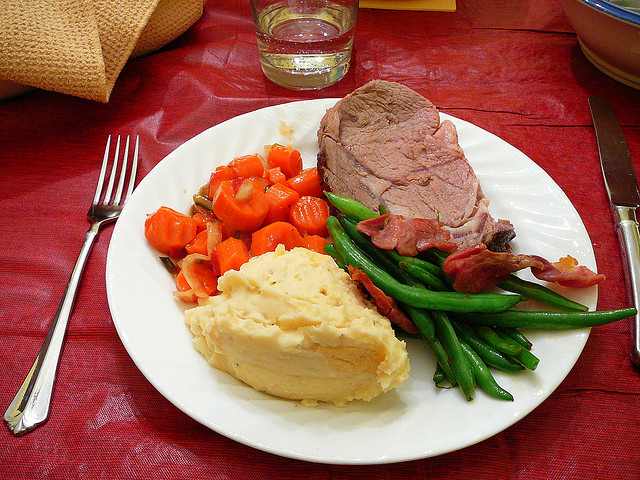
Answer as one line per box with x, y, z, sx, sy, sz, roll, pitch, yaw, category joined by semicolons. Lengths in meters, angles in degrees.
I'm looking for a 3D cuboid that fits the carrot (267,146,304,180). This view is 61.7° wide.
-0.148;-0.397;2.764;0.128;0.162;0.143;-25;107;-23;carrot

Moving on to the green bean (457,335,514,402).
0.614;0.506;2.067;0.068;0.044;0.325;-2;43;-31;green bean

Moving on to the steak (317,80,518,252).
0.442;-0.413;2.736;0.657;0.193;1.086;-29;59;-16;steak

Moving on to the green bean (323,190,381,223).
0.143;-0.143;2.474;0.318;0.085;0.094;31;26;16;green bean

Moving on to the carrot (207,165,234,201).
-0.483;-0.289;2.557;0.103;0.096;0.164;22;68;24;carrot

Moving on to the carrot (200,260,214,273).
-0.501;0.118;2.376;0.049;0.046;0.014;39;101;-13;carrot

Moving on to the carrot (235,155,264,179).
-0.344;-0.350;2.625;0.124;0.108;0.099;-16;55;-17;carrot

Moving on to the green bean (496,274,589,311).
0.911;0.222;2.244;0.076;0.541;0.079;-20;102;-12;green bean

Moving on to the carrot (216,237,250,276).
-0.389;0.063;2.343;0.146;0.144;0.144;-5;44;-20;carrot

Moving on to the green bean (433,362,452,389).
0.460;0.528;2.071;0.033;0.028;0.112;0;79;5;green bean

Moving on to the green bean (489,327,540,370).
0.753;0.429;2.095;0.123;0.154;0.105;2;109;-9;green bean

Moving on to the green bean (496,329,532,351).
0.779;0.378;2.160;0.035;0.040;0.176;-54;37;3;green bean

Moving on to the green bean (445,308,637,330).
0.850;0.315;2.140;0.732;0.082;0.102;1;94;4;green bean

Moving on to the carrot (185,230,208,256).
-0.546;0.022;2.408;0.106;0.029;0.105;9;58;3;carrot

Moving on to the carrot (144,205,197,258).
-0.680;-0.036;2.387;0.229;0.139;0.186;17;73;3;carrot

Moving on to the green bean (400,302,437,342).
0.392;0.307;2.166;0.065;0.062;0.237;-5;33;-32;green bean

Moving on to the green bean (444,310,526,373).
0.655;0.408;2.108;0.072;0.045;0.302;-14;45;-36;green bean

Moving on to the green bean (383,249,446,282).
0.400;0.065;2.260;0.230;0.106;0.279;-9;21;-29;green bean

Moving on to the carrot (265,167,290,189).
-0.206;-0.300;2.642;0.102;0.038;0.104;12;52;18;carrot

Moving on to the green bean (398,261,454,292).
0.442;0.151;2.190;0.181;0.032;0.042;30;71;1;green bean
